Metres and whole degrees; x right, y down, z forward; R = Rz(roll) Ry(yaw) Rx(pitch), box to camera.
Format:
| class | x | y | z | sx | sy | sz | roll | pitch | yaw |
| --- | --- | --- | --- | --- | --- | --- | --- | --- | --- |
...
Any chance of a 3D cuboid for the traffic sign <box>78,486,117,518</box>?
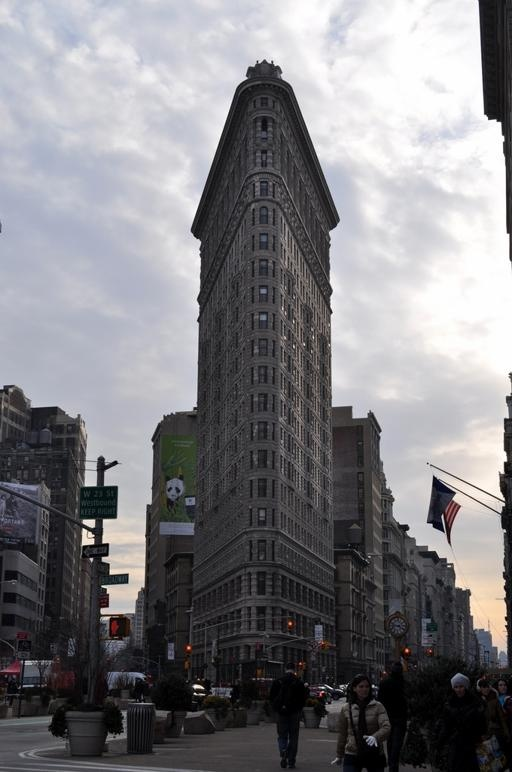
| class | x | y | z | sx | sy | sz | roll | pitch | yaw |
| --- | --- | --- | --- | --- | --- | --- | --- | --- | --- |
| traffic sign | -3.945 | 2.945 | 30.795 | 0.867 | 0.976 | 0.783 | 4 | -18 | -11 |

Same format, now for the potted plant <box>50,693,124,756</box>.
| class | x | y | z | sx | sy | sz | roll | pitch | yaw |
| --- | --- | --- | --- | --- | --- | --- | --- | --- | --- |
| potted plant | -3.745 | 7.668 | 27.475 | 1.389 | 0.936 | 1.325 | 4 | -23 | -29 |

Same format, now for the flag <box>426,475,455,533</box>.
| class | x | y | z | sx | sy | sz | roll | pitch | yaw |
| --- | --- | --- | --- | --- | --- | --- | --- | --- | --- |
| flag | 6.830 | 4.234 | 45.317 | 1.064 | 2.762 | 0.246 | 1 | -47 | 4 |

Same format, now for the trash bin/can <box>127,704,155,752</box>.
| class | x | y | z | sx | sy | sz | roll | pitch | yaw |
| --- | --- | --- | --- | --- | --- | --- | --- | --- | --- |
| trash bin/can | -2.636 | 7.861 | 28.008 | 0.576 | 1.133 | 0.915 | 3 | -17 | -7 |
